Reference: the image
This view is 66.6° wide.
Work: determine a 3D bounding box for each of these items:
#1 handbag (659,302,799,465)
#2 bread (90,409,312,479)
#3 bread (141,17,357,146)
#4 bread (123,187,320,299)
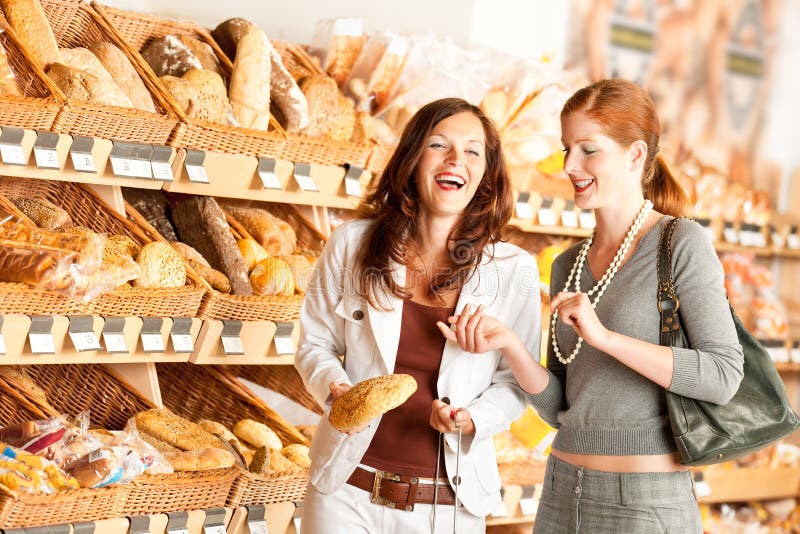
[{"bbox_3d":[0.891,0.352,1.613,0.319,0.344,0.214,-3,21,-37],"label":"handbag"},{"bbox_3d":[-0.797,0.801,2.771,0.680,0.082,0.447,12,7,-8],"label":"bread"},{"bbox_3d":[-0.675,-0.741,2.887,0.695,0.218,0.716,45,27,25],"label":"bread"},{"bbox_3d":[-0.738,-0.104,2.850,0.611,0.224,0.697,18,-8,-11],"label":"bread"}]
